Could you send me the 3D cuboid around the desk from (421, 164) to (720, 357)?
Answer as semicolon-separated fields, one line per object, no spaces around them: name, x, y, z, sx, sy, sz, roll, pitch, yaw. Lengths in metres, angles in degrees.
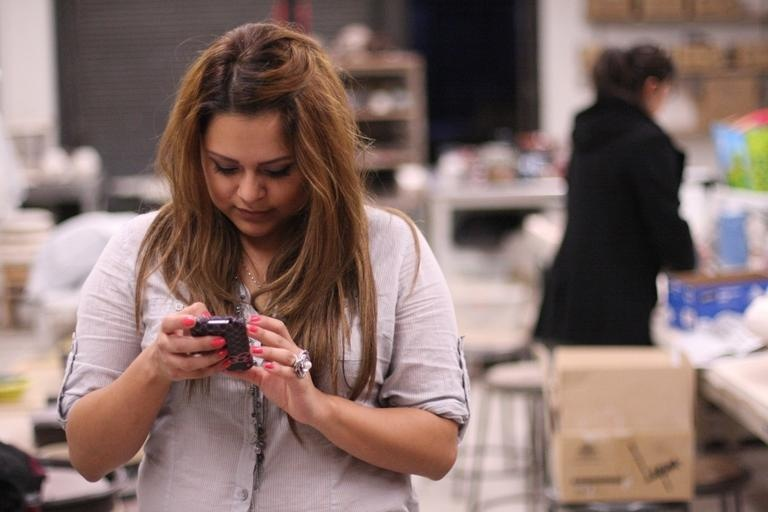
desk;0.604;-0.108;4.161;0.603;0.925;0.896;0;1;-12

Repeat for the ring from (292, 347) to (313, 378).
ring;-0.197;0.262;2.660;0.035;0.062;0.045;-2;10;21

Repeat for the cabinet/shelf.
cabinet/shelf;0.102;-0.733;6.947;0.439;0.822;0.273;-4;4;29

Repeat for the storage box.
storage box;0.606;0.415;2.996;0.453;0.462;0.354;-1;11;5

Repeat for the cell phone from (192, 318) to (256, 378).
cell phone;-0.385;0.212;2.620;0.115;0.127;0.030;0;31;7
